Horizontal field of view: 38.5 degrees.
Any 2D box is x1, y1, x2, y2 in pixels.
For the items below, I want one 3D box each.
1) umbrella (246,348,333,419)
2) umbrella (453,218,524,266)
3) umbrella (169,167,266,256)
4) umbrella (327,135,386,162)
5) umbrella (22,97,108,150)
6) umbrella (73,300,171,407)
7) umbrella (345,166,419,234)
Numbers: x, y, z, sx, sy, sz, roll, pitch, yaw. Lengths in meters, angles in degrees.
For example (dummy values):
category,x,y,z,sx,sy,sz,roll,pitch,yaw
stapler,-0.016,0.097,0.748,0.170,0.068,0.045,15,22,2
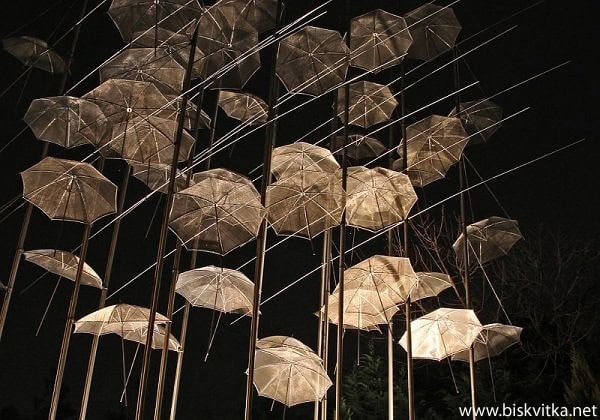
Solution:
category,x,y,z,sx,sy,sz,roll,pitch,yaw
umbrella,-0.394,5.839,31.186,2.566,2.799,2.524,4,-24,-11
umbrella,7.189,1.245,32.985,1.941,0.771,2.184,-7,-51,-21
umbrella,-2.604,-0.164,28.012,2.566,2.838,2.757,-4,-17,25
umbrella,2.364,-2.667,33.709,1.346,1.277,2.150,-1,-5,41
umbrella,-8.187,-3.215,30.518,2.550,1.789,2.318,-12,-13,43
umbrella,-6.033,5.794,30.505,2.737,4.430,2.525,-15,-26,29
umbrella,2.681,-0.185,30.130,2.170,0.825,2.399,21,-77,-13
